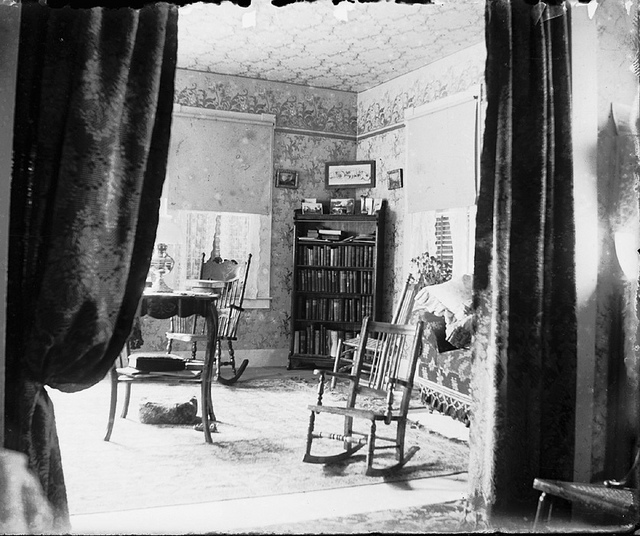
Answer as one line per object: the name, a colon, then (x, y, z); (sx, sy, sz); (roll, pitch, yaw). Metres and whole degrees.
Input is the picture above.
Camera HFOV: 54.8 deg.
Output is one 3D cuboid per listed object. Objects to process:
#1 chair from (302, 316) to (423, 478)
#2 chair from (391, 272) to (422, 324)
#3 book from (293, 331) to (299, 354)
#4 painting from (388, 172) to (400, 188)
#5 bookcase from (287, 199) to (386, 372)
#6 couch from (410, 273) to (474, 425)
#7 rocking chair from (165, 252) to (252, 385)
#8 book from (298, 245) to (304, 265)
chair: (0.301, 0.874, 4.166); (0.700, 0.998, 0.790); (1, 0, 15)
chair: (0.848, 0.301, 5.988); (0.128, 0.507, 0.134); (4, -22, 33)
book: (-0.294, 0.918, 7.701); (0.084, 0.270, 0.056); (6, -1, -38)
painting: (0.920, -1.108, 7.665); (0.034, 0.169, 0.235); (5, -1, -25)
bookcase: (0.181, 0.196, 7.726); (1.164, 2.157, 0.469); (2, 0, 7)
couch: (1.013, 0.658, 5.164); (0.440, 1.123, 1.060); (5, -1, 5)
rocking chair: (-1.168, 0.445, 6.884); (0.865, 1.574, 0.814); (5, 0, 44)
book: (-0.243, -0.173, 7.830); (0.081, 0.219, 0.231); (0, -4, -1)
